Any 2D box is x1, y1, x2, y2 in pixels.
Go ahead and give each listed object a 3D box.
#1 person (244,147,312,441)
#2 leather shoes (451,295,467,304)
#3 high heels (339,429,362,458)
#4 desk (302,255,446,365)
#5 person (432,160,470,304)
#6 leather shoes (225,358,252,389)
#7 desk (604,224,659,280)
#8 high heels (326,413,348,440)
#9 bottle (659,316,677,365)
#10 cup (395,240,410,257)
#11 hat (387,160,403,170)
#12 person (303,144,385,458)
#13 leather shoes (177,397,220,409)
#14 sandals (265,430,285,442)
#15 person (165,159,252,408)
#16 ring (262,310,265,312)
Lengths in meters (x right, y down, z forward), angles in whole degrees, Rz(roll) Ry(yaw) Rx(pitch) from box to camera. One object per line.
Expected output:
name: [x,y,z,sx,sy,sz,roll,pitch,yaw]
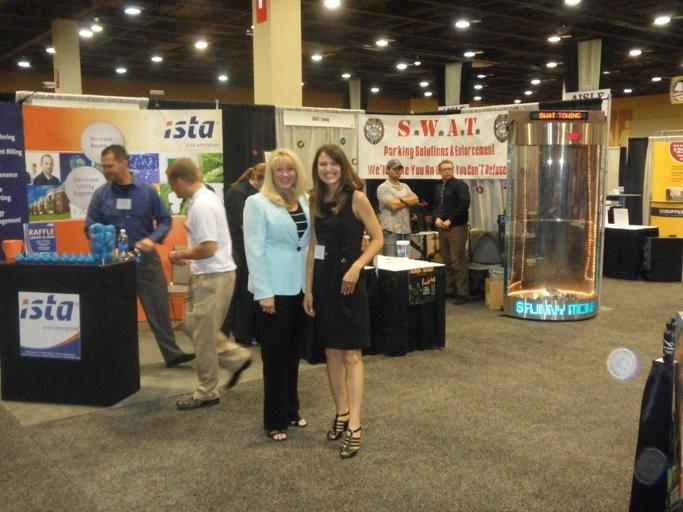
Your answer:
person: [-0.390,0.272,3.598,0.435,1.886,0.260,-4,10,-22]
leather shoes: [1.566,0.595,7.255,0.186,0.134,0.082,2,1,-17]
high heels: [0.061,1.168,3.525,0.139,0.152,0.232,0,10,1]
desk: [0.440,0.456,5.267,1.017,0.638,0.983,-6,9,-38]
person: [1.437,-0.314,7.209,0.475,1.837,0.450,2,10,17]
leather shoes: [-0.854,0.981,4.567,0.271,0.067,0.144,-45,7,-14]
desk: [4.552,-0.147,8.935,0.889,0.892,0.875,-6,7,-41]
high heels: [-0.029,1.145,3.626,0.077,0.094,0.236,-1,-8,13]
bottle: [1.507,0.368,2.516,0.047,0.238,0.227,5,11,29]
cup: [0.627,-0.069,5.659,0.167,0.154,0.170,0,4,0]
hat: [0.713,-1.157,7.034,0.261,0.117,0.134,-7,12,-33]
person: [0.001,0.263,3.577,0.424,1.920,0.516,-9,13,-42]
leather shoes: [-1.086,1.089,4.162,0.268,0.100,0.105,6,-6,-27]
sandals: [-0.436,1.198,3.655,0.062,0.031,0.118,0,-2,-20]
person: [-1.023,0.179,4.271,0.572,1.828,0.620,-3,10,-14]
ring: [-0.496,0.350,3.486,0.015,0.006,0.020,2,1,0]
